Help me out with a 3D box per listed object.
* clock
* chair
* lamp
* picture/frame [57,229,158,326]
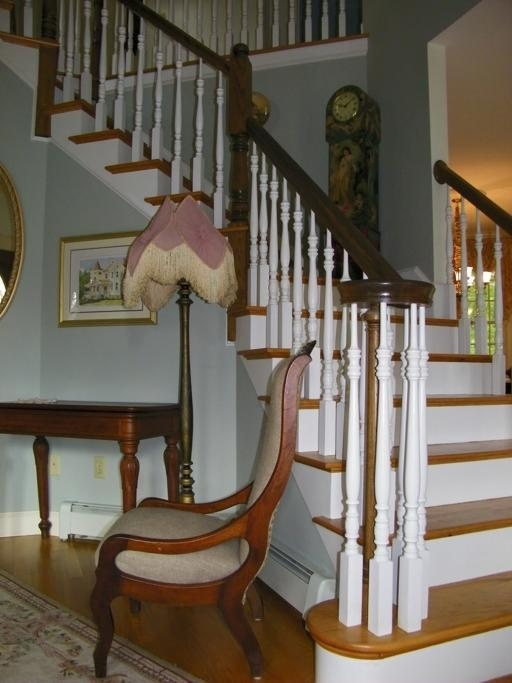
[{"bbox_3d":[0.648,-1.050,4.316,0.483,0.940,0.285,-1,1,-35],"label":"clock"},{"bbox_3d":[-0.158,0.560,2.626,0.805,1.519,0.746,4,-5,-2],"label":"chair"},{"bbox_3d":[1.900,-0.859,6.401,0.483,0.850,0.560,-1,1,-8],"label":"lamp"},{"bbox_3d":[-0.719,-0.280,3.343,0.367,0.420,0.015,0,-2,17],"label":"picture/frame"}]
